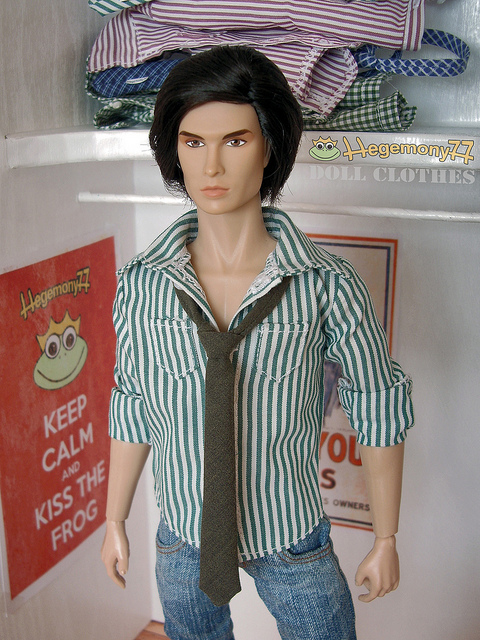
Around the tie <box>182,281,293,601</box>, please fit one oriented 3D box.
[{"bbox_3d":[-0.023,0.138,0.684,0.149,0.415,0.031,-3,15,-9],"label":"tie"}]
